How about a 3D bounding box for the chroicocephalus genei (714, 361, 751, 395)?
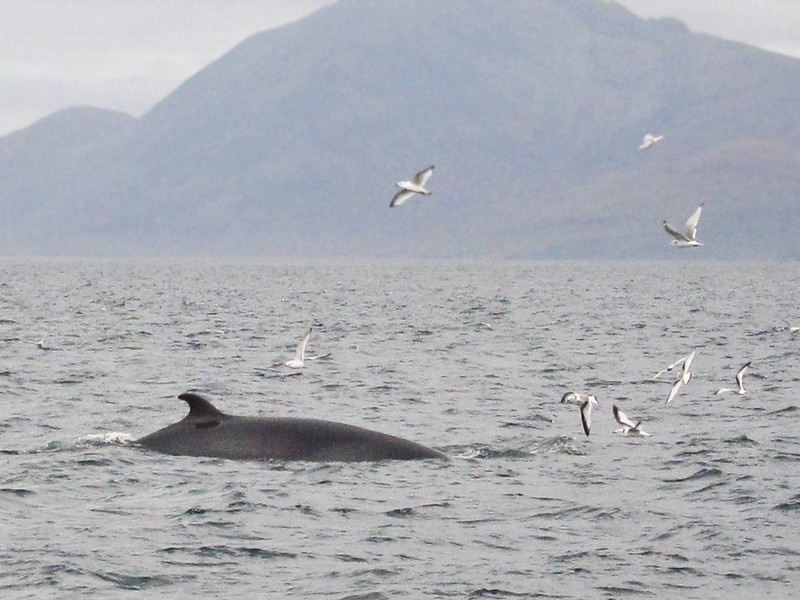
[{"bbox_3d":[9.465,2.322,51.174,0.716,0.865,0.455,-21,48,-19],"label":"chroicocephalus genei"}]
